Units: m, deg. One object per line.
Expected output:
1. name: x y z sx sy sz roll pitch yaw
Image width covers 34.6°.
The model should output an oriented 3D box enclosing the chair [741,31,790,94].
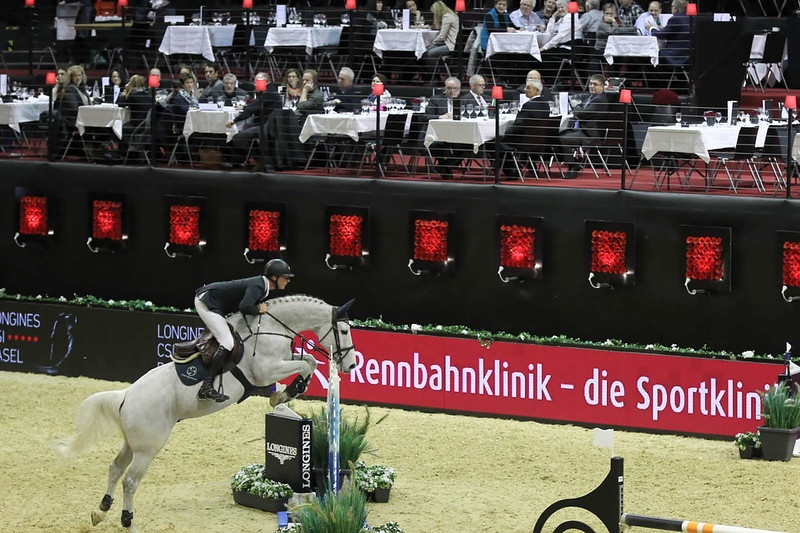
1. chair: 7.199 -4.013 25.212 0.795 1.070 1.926 1 6 16

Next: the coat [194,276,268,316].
1. coat: -2.342 0.390 18.232 0.874 0.463 0.554 -1 -21 10

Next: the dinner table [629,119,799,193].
1. dinner table: 5.519 -1.899 22.218 2.692 1.183 3.123 3 7 29

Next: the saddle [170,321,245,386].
1. saddle: -2.708 1.307 18.066 0.929 0.694 0.598 -2 0 -21

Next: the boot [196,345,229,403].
1. boot: -2.595 1.515 17.885 0.430 0.784 0.172 -1 5 -10

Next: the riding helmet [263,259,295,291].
1. riding helmet: -1.736 0.114 18.202 0.498 0.517 0.392 -7 19 -10
